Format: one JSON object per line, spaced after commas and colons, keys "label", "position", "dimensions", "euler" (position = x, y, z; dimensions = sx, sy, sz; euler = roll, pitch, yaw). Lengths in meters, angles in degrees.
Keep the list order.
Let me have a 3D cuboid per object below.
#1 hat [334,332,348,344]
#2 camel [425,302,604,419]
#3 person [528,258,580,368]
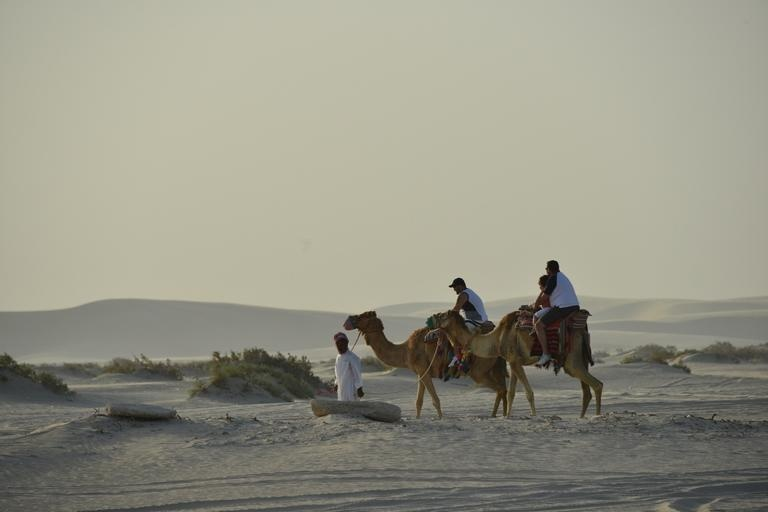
{"label": "hat", "position": [-0.986, 1.817, 23.060], "dimensions": [0.269, 0.230, 0.682], "euler": [0, -1, -10]}
{"label": "camel", "position": [3.139, 2.108, 23.508], "dimensions": [6.712, 3.041, 2.942], "euler": [-1, -8, 10]}
{"label": "person", "position": [3.927, 1.315, 23.246], "dimensions": [1.000, 2.413, 0.475], "euler": [0, -1, 8]}
